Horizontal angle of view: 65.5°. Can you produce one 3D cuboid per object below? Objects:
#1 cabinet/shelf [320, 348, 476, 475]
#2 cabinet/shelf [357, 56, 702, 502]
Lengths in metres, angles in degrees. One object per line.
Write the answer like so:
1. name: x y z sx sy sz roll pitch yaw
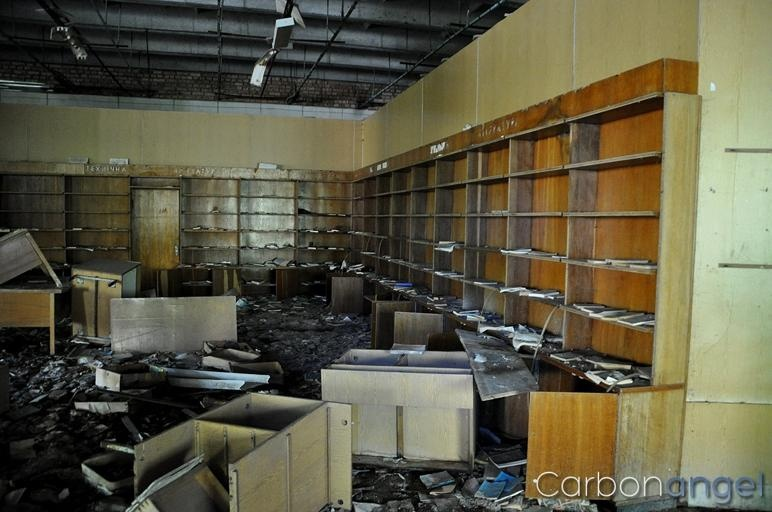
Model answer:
1. cabinet/shelf: 0.221 1.164 5.949 1.742 1.043 0.954 0 -3 5
2. cabinet/shelf: 0.159 0.095 8.697 2.706 3.765 8.203 -1 2 -18
